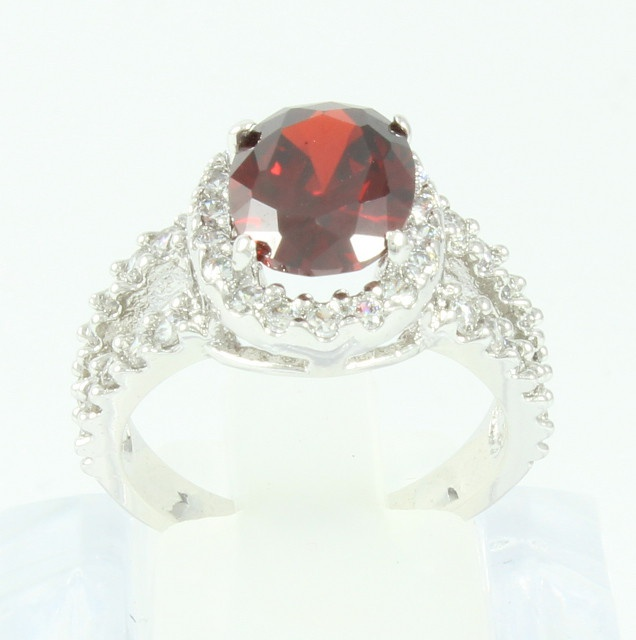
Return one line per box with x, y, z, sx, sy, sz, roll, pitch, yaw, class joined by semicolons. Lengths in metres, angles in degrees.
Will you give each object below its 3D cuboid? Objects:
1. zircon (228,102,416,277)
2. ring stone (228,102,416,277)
0.003;-0.262;1.731;0.346;0.347;0.184;-3;30;-5;zircon
0.004;-0.241;1.635;0.319;0.391;0.171;1;-8;-2;ring stone
